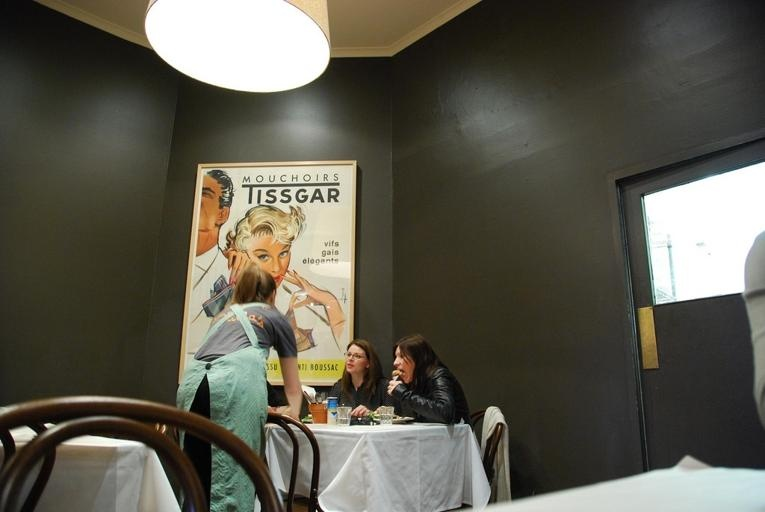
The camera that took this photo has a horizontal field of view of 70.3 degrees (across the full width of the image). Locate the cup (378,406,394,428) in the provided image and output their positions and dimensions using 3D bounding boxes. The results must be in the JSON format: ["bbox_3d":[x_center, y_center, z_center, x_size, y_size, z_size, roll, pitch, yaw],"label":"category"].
[{"bbox_3d":[0.030,1.008,3.409,0.095,0.108,0.104,0,-23,0],"label":"cup"}]

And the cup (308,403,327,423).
[{"bbox_3d":[-0.428,1.042,3.579,0.106,0.099,0.120,-1,-23,5],"label":"cup"}]

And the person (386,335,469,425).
[{"bbox_3d":[0.258,0.858,3.844,0.558,0.570,1.062,6,-9,-28],"label":"person"}]

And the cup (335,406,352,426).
[{"bbox_3d":[-0.237,0.996,3.374,0.095,0.113,0.101,1,-18,0],"label":"cup"}]

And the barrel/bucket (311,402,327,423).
[{"bbox_3d":[-0.423,1.038,3.587,0.101,0.093,0.111,-8,-20,28],"label":"barrel/bucket"}]
